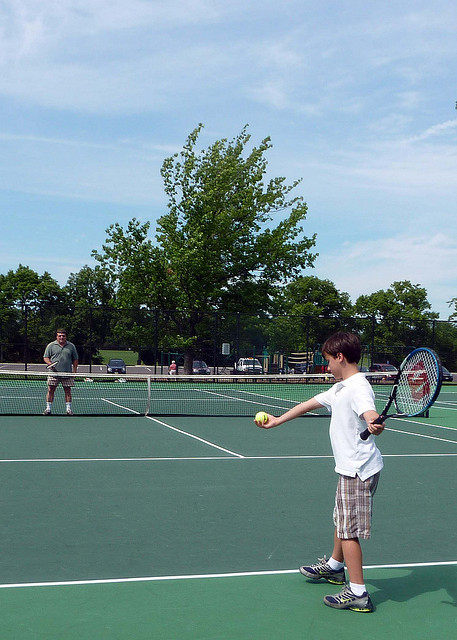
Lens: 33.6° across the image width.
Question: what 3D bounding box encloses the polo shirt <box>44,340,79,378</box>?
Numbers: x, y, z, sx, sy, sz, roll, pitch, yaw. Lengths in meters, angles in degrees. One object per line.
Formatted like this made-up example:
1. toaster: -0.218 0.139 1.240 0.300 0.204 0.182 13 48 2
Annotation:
1. polo shirt: -2.969 0.655 13.181 0.532 0.502 0.465 2 -1 -12

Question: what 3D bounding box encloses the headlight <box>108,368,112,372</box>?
1. headlight: -4.345 1.816 27.235 0.135 0.076 0.149 2 -11 7

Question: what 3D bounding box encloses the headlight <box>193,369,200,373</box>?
1. headlight: -1.180 1.811 26.553 0.142 0.083 0.141 -3 -6 35

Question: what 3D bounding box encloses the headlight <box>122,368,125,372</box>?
1. headlight: -3.672 1.733 26.026 0.096 0.108 0.118 -1 -2 -5

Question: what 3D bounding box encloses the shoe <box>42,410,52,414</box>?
1. shoe: -3.202 1.611 13.175 0.164 0.068 0.194 1 -4 -20

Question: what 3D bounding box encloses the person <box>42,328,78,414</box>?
1. person: -2.998 0.934 13.342 0.589 1.255 1.089 2 -1 -13

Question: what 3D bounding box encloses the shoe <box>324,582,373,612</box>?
1. shoe: 0.607 1.463 3.987 0.289 0.086 0.130 0 -1 39

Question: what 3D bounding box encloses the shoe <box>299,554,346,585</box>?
1. shoe: 0.531 1.467 4.392 0.303 0.145 0.107 8 -14 -1

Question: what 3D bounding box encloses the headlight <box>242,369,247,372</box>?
1. headlight: 0.500 1.759 26.380 0.101 0.042 0.145 8 -14 -26

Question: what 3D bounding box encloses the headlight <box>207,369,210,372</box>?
1. headlight: -0.750 1.779 26.168 0.123 0.098 0.061 1 -11 -5

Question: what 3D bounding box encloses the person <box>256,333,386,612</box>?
1. person: 0.550 0.800 4.111 0.548 1.457 0.741 1 -1 10
